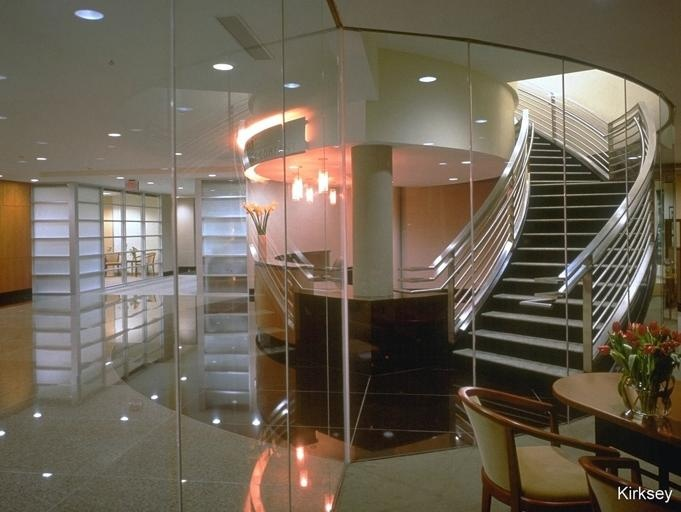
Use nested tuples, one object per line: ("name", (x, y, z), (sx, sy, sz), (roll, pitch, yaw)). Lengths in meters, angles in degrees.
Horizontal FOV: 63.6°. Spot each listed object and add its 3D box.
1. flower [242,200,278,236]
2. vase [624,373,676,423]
("flower", (-0.255, -0.119, 1.777), (0.092, 0.088, 0.099), (-3, -17, -6))
("vase", (1.241, 0.583, 2.246), (0.173, 0.135, 0.163), (0, -4, -2))
